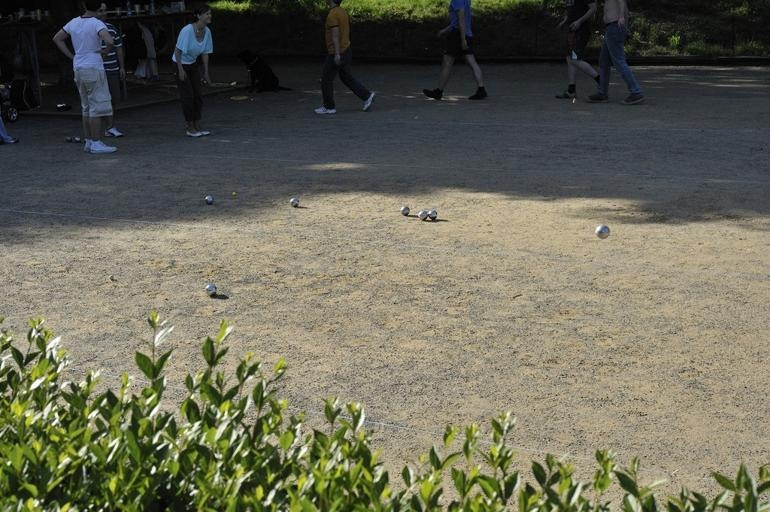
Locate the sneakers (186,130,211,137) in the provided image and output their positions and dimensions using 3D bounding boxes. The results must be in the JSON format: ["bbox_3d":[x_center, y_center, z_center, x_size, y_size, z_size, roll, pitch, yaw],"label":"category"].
[{"bbox_3d":[-3.920,-2.530,12.025,0.272,0.096,0.214,0,6,37],"label":"sneakers"}]

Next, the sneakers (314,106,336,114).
[{"bbox_3d":[-1.486,-3.619,14.466,0.577,0.232,0.205,4,14,1],"label":"sneakers"}]

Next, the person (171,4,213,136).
[{"bbox_3d":[-3.845,-3.772,11.887,0.857,2.546,1.059,-9,19,-17],"label":"person"}]
